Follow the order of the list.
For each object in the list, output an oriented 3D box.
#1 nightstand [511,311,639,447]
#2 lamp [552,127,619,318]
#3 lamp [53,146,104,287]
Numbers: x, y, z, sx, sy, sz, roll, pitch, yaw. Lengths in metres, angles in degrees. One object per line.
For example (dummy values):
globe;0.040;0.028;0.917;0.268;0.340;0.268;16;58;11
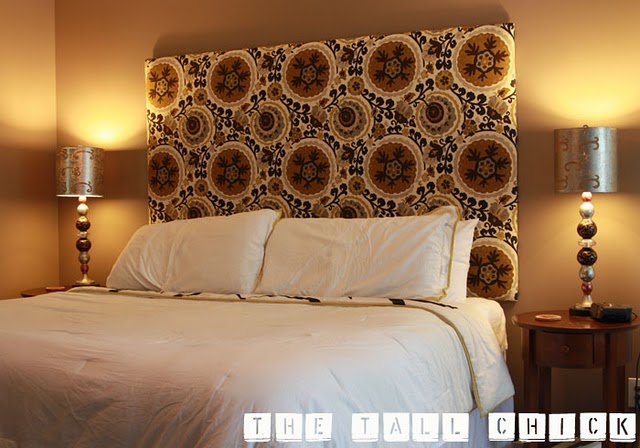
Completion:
nightstand;1.273;0.760;3.200;0.751;0.800;0.711;-1;-3;10
lamp;1.522;-0.030;3.203;0.317;1.065;0.366;-1;-2;28
lamp;-1.814;-0.054;4.225;0.312;1.023;0.440;1;-2;-22
